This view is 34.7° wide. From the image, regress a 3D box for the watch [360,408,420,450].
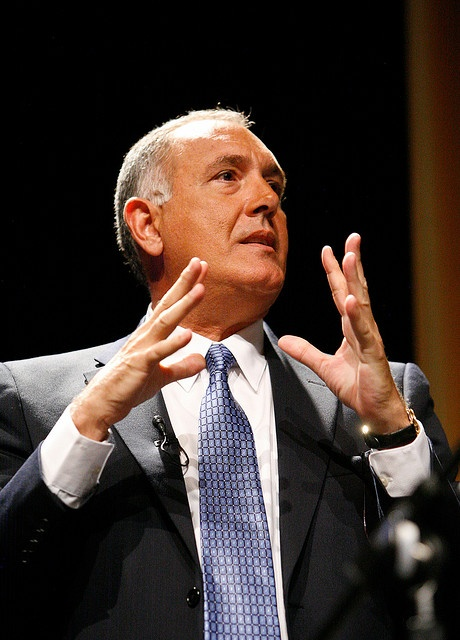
[{"bbox_3d":[0.387,0.263,1.662,0.114,0.044,0.115,-29,-18,36],"label":"watch"}]
